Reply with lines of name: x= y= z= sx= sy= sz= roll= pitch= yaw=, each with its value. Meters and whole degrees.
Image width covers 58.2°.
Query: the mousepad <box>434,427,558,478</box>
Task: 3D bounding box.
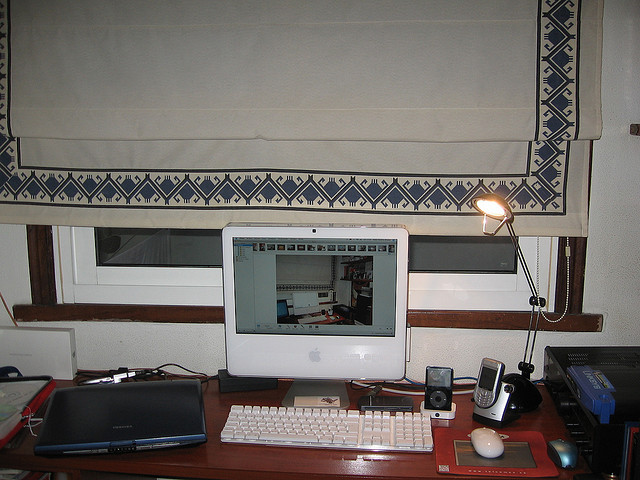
mousepad: x=0.513 y=0.636 z=1.709 sx=0.339 sy=0.077 sz=0.178 roll=-1 pitch=0 yaw=9

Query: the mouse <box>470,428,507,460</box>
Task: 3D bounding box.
mouse: x=0.499 y=0.607 z=1.715 sx=0.098 sy=0.073 sz=0.069 roll=-1 pitch=0 yaw=16

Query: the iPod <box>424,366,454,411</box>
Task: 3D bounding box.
iPod: x=0.385 y=0.487 z=1.874 sx=0.128 sy=0.190 sz=0.078 roll=2 pitch=-16 yaw=10

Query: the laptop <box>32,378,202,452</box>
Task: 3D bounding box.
laptop: x=-0.615 y=0.543 z=1.796 sx=0.512 sy=0.101 sz=0.199 roll=-1 pitch=0 yaw=-5

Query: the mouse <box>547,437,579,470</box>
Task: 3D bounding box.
mouse: x=0.710 y=0.623 z=1.673 sx=0.092 sy=0.072 sz=0.066 roll=-1 pitch=0 yaw=1

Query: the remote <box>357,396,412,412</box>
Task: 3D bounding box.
remote: x=0.216 y=0.536 z=1.901 sx=0.138 sy=0.017 sz=0.063 roll=1 pitch=6 yaw=0

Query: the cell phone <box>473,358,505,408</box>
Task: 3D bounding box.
cell phone: x=0.539 y=0.462 z=1.852 sx=0.086 sy=0.144 sz=0.055 roll=-1 pitch=1 yaw=29
